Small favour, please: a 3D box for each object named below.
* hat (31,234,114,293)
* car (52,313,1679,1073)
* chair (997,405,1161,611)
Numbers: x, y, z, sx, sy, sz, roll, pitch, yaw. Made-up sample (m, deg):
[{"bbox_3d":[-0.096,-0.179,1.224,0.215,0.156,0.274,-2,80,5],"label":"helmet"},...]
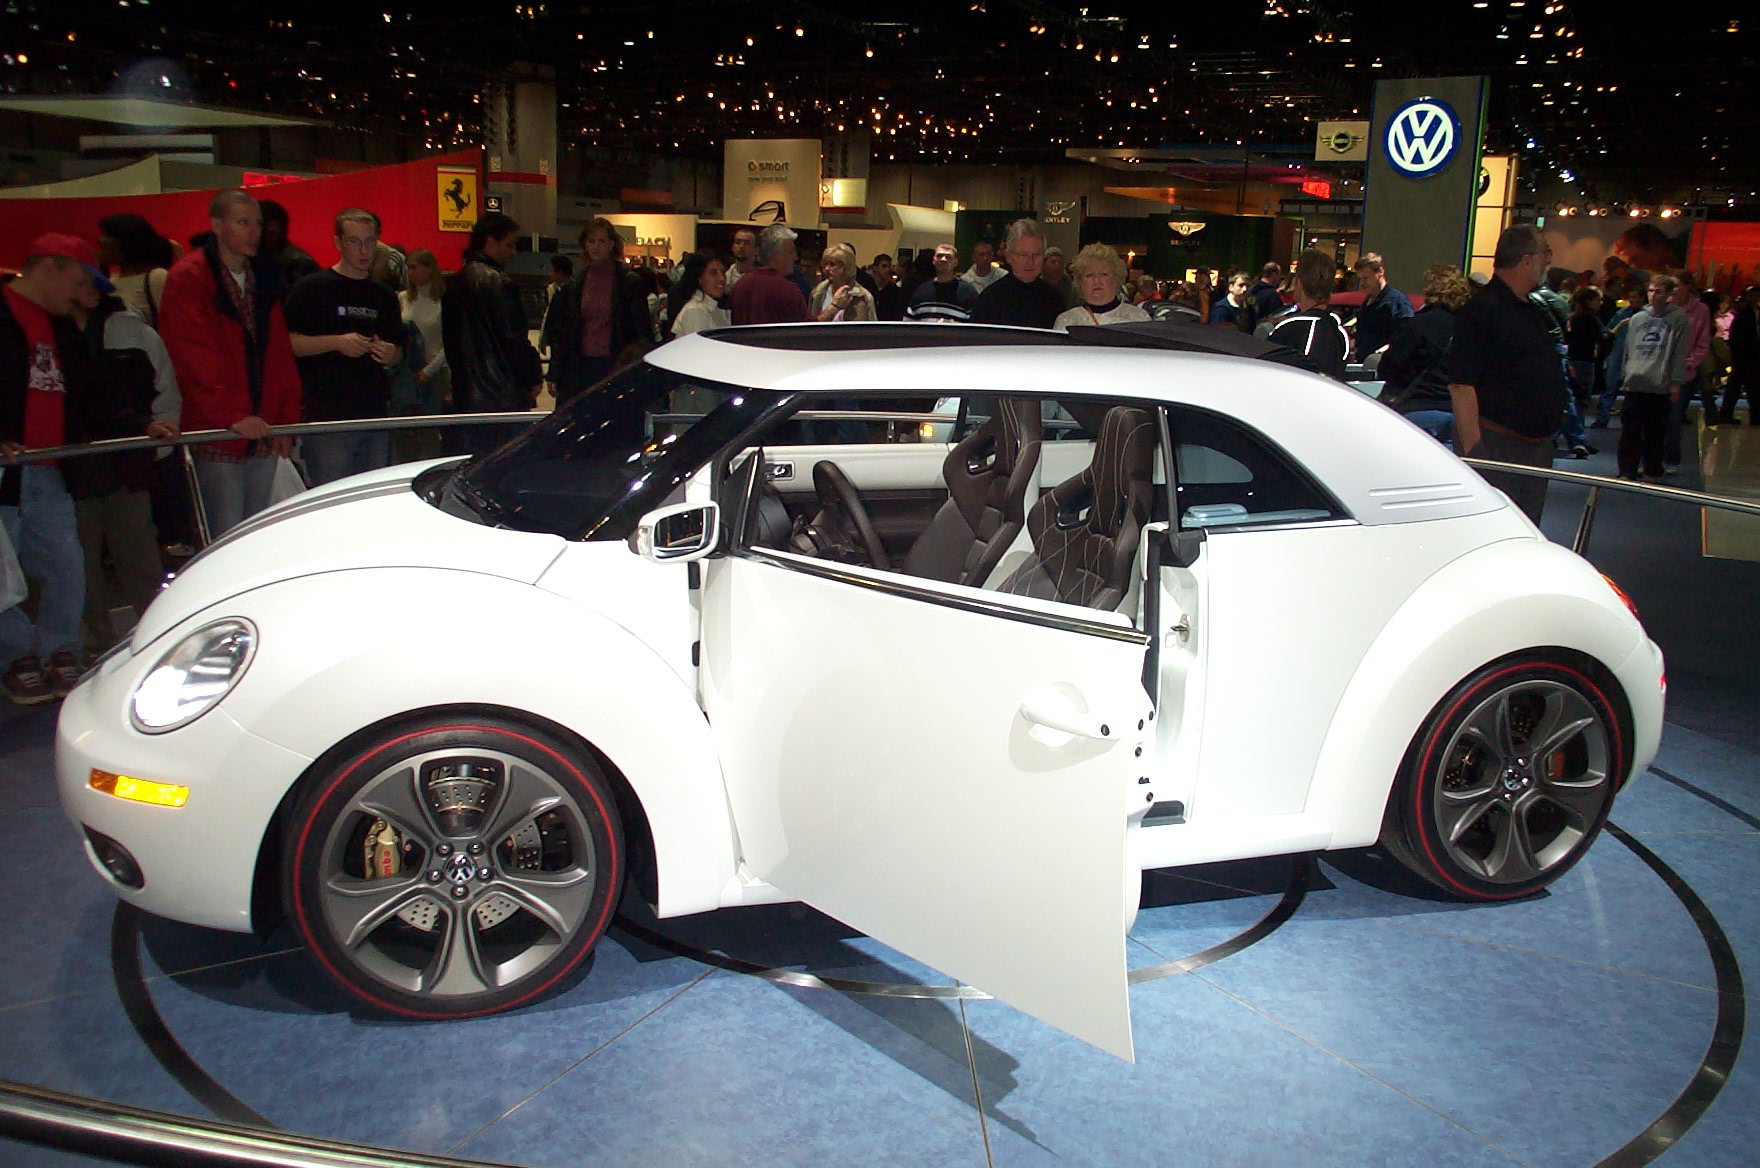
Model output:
[{"bbox_3d":[-4.037,-1.605,5.590,0.222,0.260,0.550,-4,17,-15],"label":"hat"},{"bbox_3d":[0.076,0.255,3.608,3.872,1.588,3.048,2,7,-9],"label":"car"},{"bbox_3d":[0.730,-0.258,3.914,0.480,0.776,0.603,7,-7,28],"label":"chair"}]
